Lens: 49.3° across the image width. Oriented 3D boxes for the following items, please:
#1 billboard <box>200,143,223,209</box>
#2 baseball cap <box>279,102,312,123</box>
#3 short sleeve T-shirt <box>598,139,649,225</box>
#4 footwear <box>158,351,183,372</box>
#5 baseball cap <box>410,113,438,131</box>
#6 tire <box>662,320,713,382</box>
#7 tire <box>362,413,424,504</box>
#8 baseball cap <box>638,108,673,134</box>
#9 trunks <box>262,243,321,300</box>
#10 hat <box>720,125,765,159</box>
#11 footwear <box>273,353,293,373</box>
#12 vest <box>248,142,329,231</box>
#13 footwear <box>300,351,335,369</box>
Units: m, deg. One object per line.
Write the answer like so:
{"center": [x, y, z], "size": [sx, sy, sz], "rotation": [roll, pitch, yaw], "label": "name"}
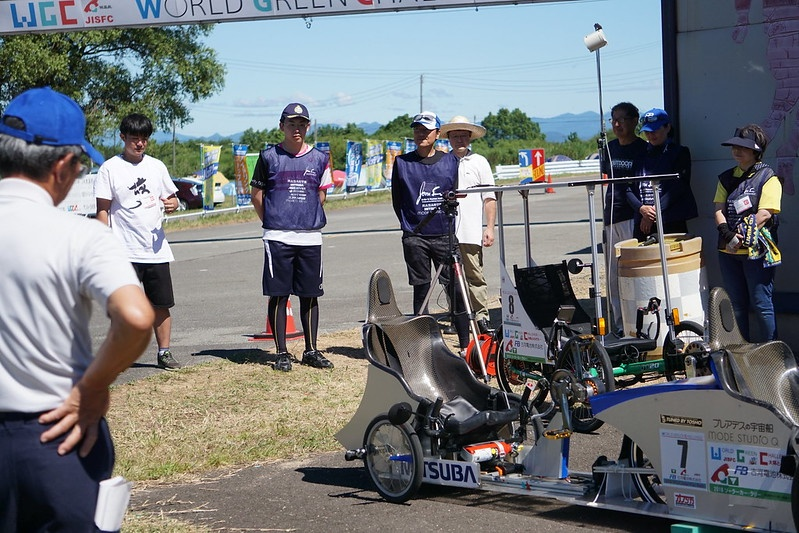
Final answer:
{"center": [-7.984, -3.684, 36.863], "size": [0.168, 3.032, 1.058], "rotation": [18, 23, 31], "label": "billboard"}
{"center": [-1.062, -1.569, 8.947], "size": [0.263, 0.187, 0.401], "rotation": [-5, 12, -11], "label": "baseball cap"}
{"center": [2.507, -0.967, 9.882], "size": [0.590, 0.872, 0.304], "rotation": [4, -14, 40], "label": "short sleeve T-shirt"}
{"center": [-2.486, 1.006, 9.501], "size": [0.136, 0.165, 0.350], "rotation": [-5, 5, -41], "label": "footwear"}
{"center": [0.283, -1.542, 9.310], "size": [0.295, 0.185, 0.380], "rotation": [-3, 11, 0], "label": "baseball cap"}
{"center": [2.598, 0.635, 7.911], "size": [0.324, 0.157, 0.344], "rotation": [-23, 8, 5], "label": "tire"}
{"center": [-0.025, 1.364, 6.247], "size": [0.218, 0.692, 0.607], "rotation": [-1, -2, -42], "label": "tire"}
{"center": [2.802, -1.587, 9.483], "size": [0.366, 0.234, 0.278], "rotation": [-3, 11, 0], "label": "baseball cap"}
{"center": [-1.139, 0.014, 9.479], "size": [0.671, 0.680, 0.413], "rotation": [1, -5, -9], "label": "trunks"}
{"center": [3.421, -1.266, 8.581], "size": [0.500, 0.269, 0.406], "rotation": [13, 6, 16], "label": "hat"}
{"center": [-1.241, 1.002, 9.278], "size": [0.204, 0.161, 0.244], "rotation": [-6, 12, -12], "label": "footwear"}
{"center": [-1.134, -0.850, 9.405], "size": [0.927, 0.952, 0.505], "rotation": [-1, 8, -19], "label": "vest"}
{"center": [-0.883, 0.982, 9.450], "size": [0.372, 0.169, 0.151], "rotation": [5, 15, 24], "label": "footwear"}
